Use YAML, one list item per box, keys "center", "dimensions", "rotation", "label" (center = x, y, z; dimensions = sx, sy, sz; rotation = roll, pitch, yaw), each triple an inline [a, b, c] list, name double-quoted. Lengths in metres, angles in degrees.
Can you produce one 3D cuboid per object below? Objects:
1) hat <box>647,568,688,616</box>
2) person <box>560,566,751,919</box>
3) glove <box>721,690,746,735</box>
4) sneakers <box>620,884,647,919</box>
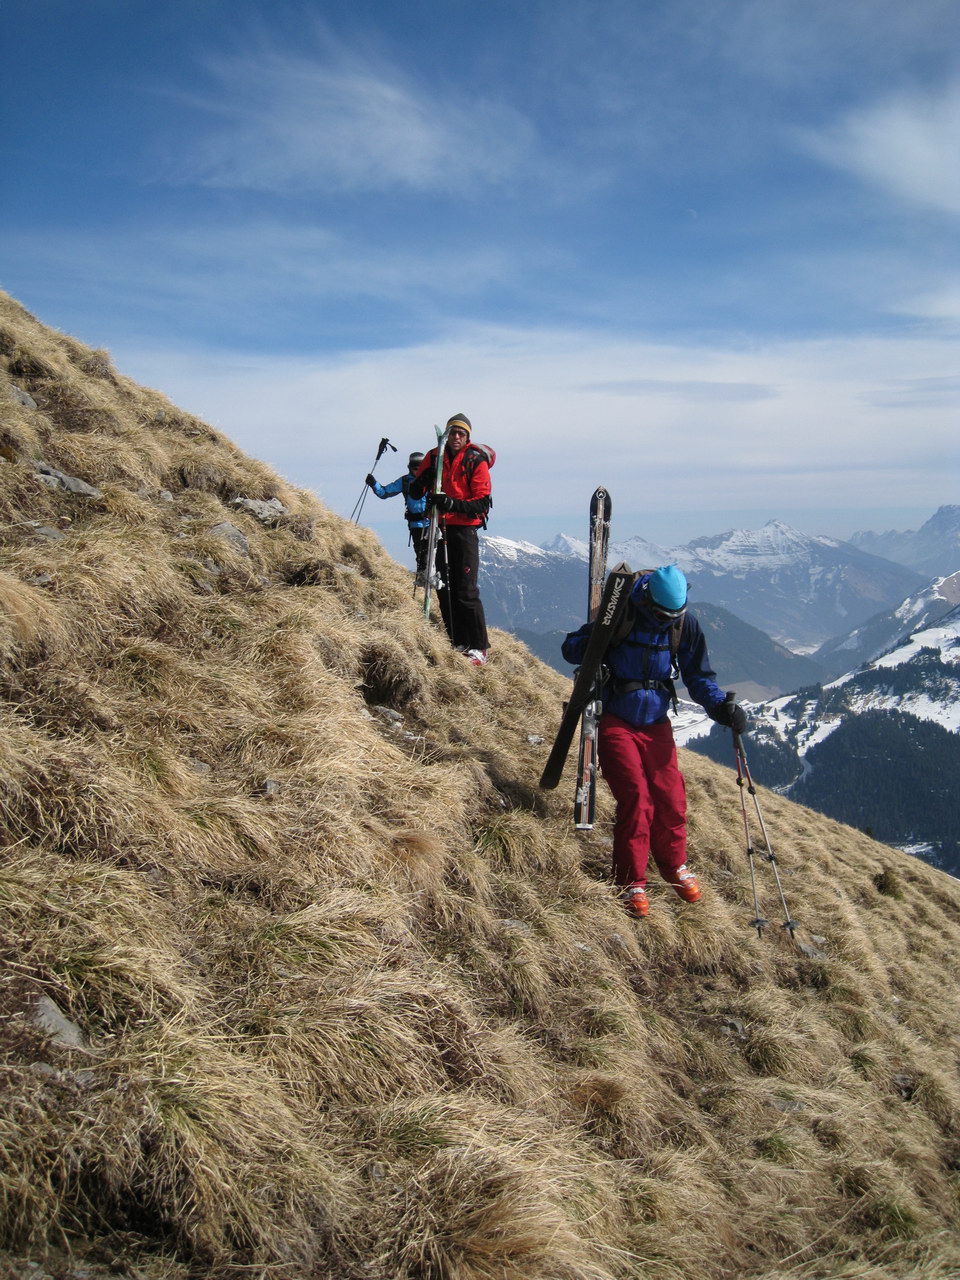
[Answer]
- center: [1.735, -0.466, 11.549]
  dimensions: [0.358, 0.281, 0.454]
  rotation: [-2, 41, 6]
  label: "hat"
- center: [1.625, 0.874, 11.890]
  dimensions: [1.186, 3.193, 1.449]
  rotation: [9, 8, 33]
  label: "person"
- center: [2.427, 0.751, 12.018]
  dimensions: [0.152, 0.278, 0.386]
  rotation: [-3, 32, 9]
  label: "glove"
- center: [1.395, 2.401, 11.333]
  dimensions: [0.144, 0.149, 0.361]
  rotation: [1, 23, 2]
  label: "sneakers"
